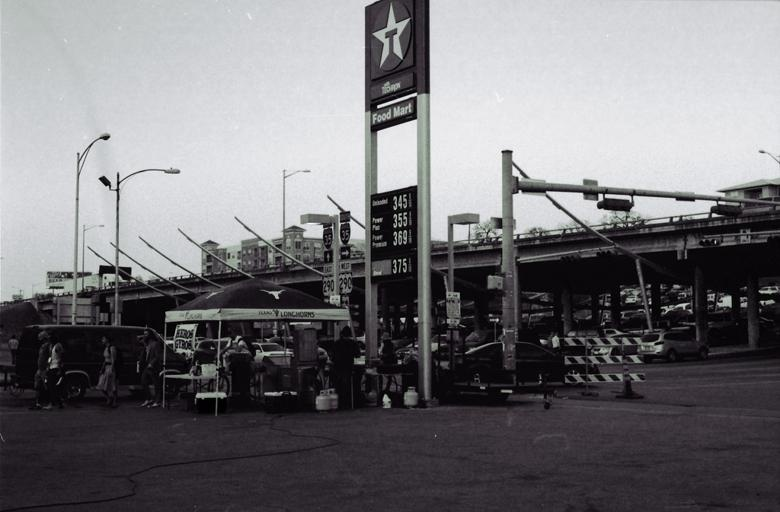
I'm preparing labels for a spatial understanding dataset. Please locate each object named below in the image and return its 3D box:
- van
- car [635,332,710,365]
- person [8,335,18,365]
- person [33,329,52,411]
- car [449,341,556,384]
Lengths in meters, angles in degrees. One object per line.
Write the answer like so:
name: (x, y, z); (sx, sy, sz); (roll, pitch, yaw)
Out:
van: (-10.618, 3.742, 32.471); (5.443, 2.236, 2.653); (0, -2, -25)
car: (16.737, 5.401, 53.492); (4.543, 1.873, 1.062); (4, -14, -33)
person: (-12.880, 3.157, 30.704); (0.290, 1.115, 1.631); (1, -13, -23)
person: (-11.040, 3.587, 28.507); (0.447, 2.478, 0.915); (1, -13, -21)
car: (4.378, 3.906, 33.062); (2.645, 1.692, 5.920); (-8, -12, 22)
